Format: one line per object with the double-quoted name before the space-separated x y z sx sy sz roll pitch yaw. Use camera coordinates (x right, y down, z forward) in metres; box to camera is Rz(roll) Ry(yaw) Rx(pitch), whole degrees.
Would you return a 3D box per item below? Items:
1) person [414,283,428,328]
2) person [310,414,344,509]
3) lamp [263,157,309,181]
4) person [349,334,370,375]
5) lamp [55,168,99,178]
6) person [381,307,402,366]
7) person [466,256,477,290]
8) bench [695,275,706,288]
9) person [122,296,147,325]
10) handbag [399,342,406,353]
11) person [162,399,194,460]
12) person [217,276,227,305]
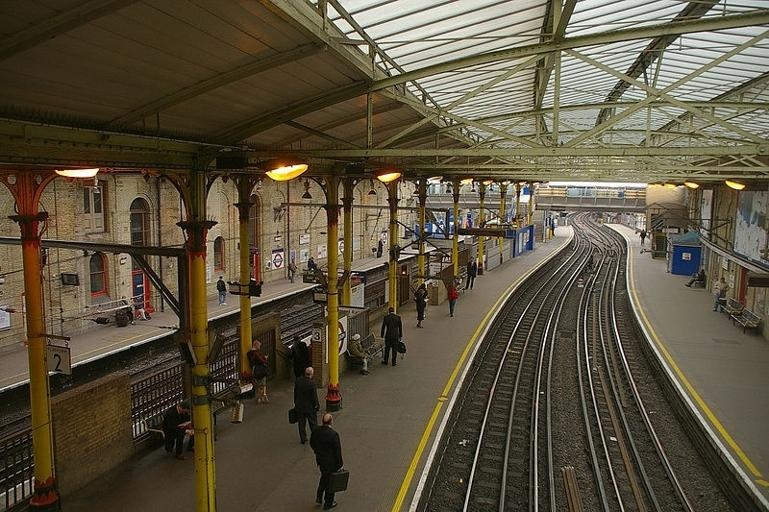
"person" 1.450 1.939 21.924 0.426 1.701 1.174 -2 7 3
"person" -1.112 3.947 10.457 0.561 1.969 0.636 -4 7 -9
"lamp" -2.037 -1.755 11.027 0.793 0.373 1.097 -4 6 -12
"person" -0.822 3.132 16.898 0.389 0.597 1.192 0 3 12
"lamp" -5.767 -1.562 10.157 1.289 0.141 0.581 3 8 42
"person" 0.205 2.655 17.444 0.646 1.707 0.918 -3 7 -2
"person" 4.716 1.008 29.754 0.529 1.476 1.626 -1 7 11
"bench" 18.241 1.508 31.287 0.615 0.750 0.598 0 -1 -3
"person" -11.029 2.382 23.798 1.026 1.264 0.953 1 16 -1
"handbag" 0.618 2.948 17.394 0.271 0.360 0.353 12 -14 -8
"person" -4.646 3.861 12.128 0.607 1.219 0.412 -5 7 -21
"person" -8.166 1.639 26.980 0.348 1.224 2.023 -5 7 -19
